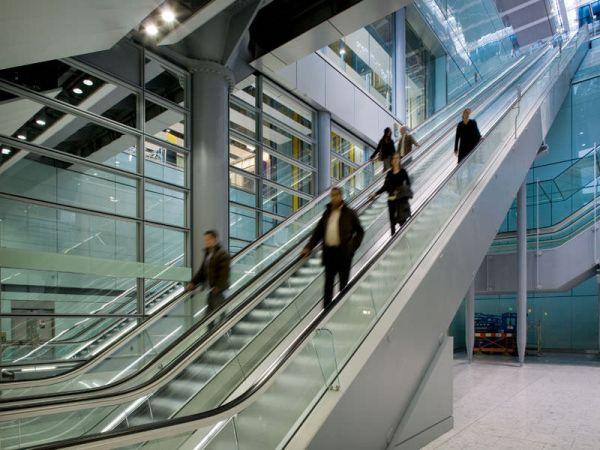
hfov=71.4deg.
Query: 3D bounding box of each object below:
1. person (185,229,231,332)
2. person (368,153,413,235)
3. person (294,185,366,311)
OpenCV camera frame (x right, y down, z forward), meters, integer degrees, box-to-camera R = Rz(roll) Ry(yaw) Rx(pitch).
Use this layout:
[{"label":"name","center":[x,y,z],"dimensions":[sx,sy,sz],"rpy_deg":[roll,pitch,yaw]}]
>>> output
[{"label":"person","center":[-1.484,0.782,7.058],"dimensions":[0.878,1.396,0.423],"rpy_deg":[-9,-17,42]},{"label":"person","center":[1.914,-0.631,8.308],"dimensions":[0.605,1.759,1.601],"rpy_deg":[0,-13,9]},{"label":"person","center":[0.617,0.302,6.321],"dimensions":[0.671,1.812,0.334],"rpy_deg":[1,-13,7]}]
